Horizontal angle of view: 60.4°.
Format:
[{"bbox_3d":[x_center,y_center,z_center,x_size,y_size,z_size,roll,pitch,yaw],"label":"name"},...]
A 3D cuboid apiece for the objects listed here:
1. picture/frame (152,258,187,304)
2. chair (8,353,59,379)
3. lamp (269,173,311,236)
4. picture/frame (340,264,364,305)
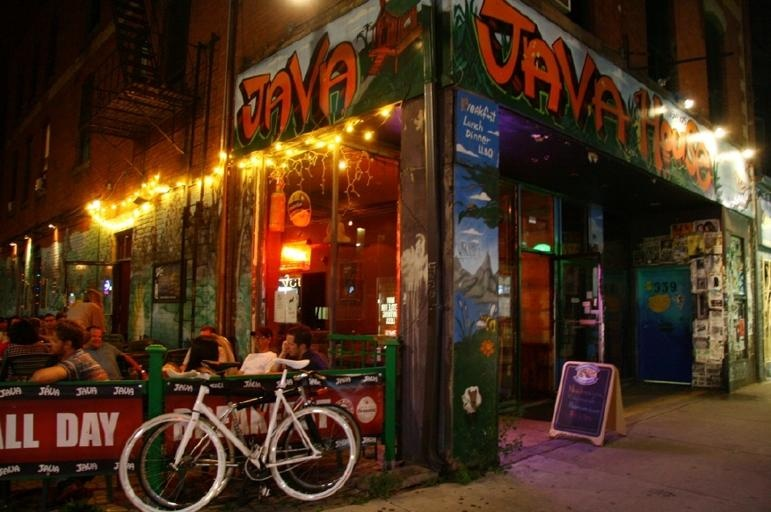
[{"bbox_3d":[-5.187,0.597,15.826,0.141,0.875,0.955,7,-9,-43],"label":"picture/frame"},{"bbox_3d":[-5.966,1.821,10.974,0.961,0.425,0.231,-4,-9,6],"label":"chair"},{"bbox_3d":[-2.059,-1.066,14.008,1.163,1.297,0.777,0,2,-2],"label":"lamp"},{"bbox_3d":[-0.910,0.702,17.126,0.729,1.053,0.148,-9,-11,34],"label":"picture/frame"}]
